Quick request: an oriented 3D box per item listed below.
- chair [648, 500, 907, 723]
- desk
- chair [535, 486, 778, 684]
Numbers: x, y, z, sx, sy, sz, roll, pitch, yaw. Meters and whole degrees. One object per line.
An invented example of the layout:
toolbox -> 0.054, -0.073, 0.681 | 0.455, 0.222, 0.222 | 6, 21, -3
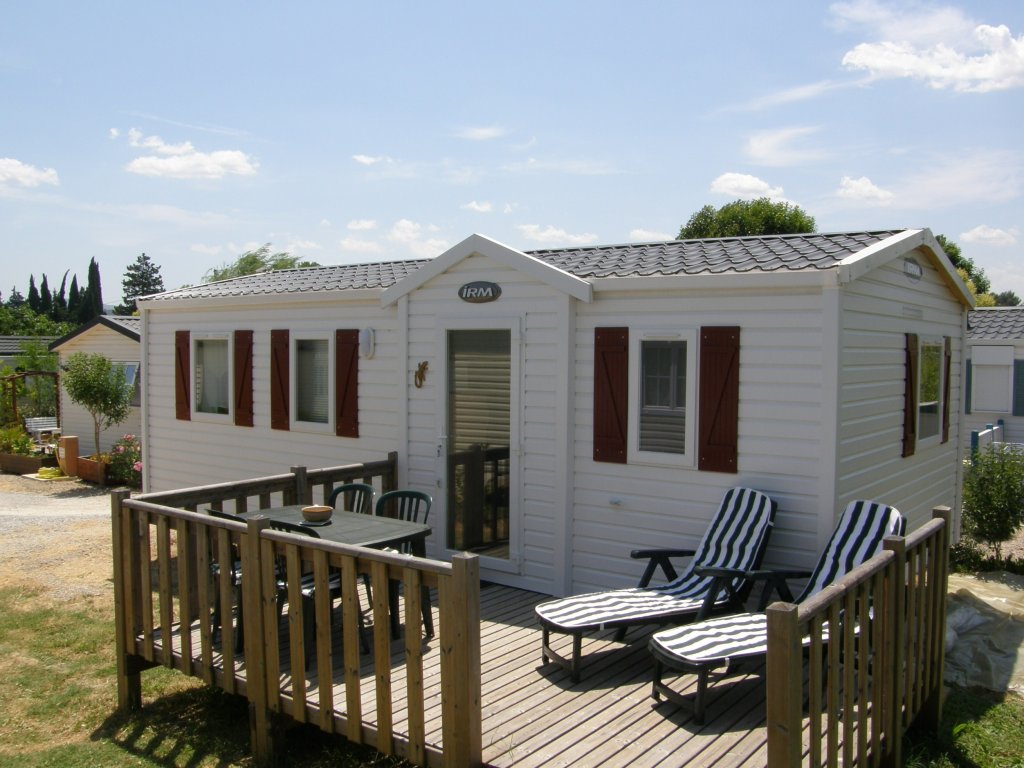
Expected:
chair -> 2.901, 1.912, 8.122 | 3.243, 2.245, 1.205 | 0, -1, -30
desk -> -1.558, 2.119, 9.115 | 2.220, 1.144, 1.215 | -1, -3, 45
chair -> 1.524, 1.879, 9.017 | 2.614, 1.773, 1.285 | 1, -1, -33
